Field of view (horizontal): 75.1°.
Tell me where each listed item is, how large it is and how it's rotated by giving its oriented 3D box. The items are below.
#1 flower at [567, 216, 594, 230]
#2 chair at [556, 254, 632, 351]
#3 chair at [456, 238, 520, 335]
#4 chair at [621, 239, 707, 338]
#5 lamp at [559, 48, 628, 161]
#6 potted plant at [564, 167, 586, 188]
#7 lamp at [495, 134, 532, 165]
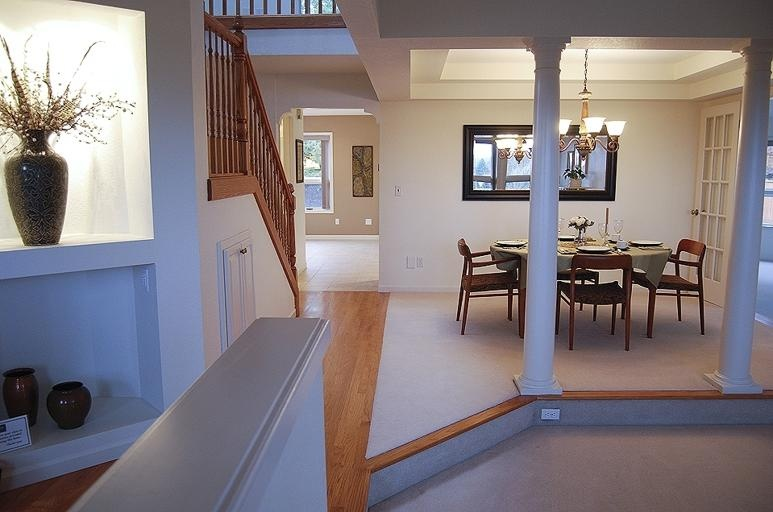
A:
[{"bbox_3d":[2.220,-0.378,5.801,0.216,0.154,0.282,3,13,17],"label":"flower"},{"bbox_3d":[2.261,0.401,5.423,0.679,1.010,0.753,-1,11,5],"label":"chair"},{"bbox_3d":[1.180,0.350,5.853,0.718,0.986,0.831,-2,6,2],"label":"chair"},{"bbox_3d":[3.210,0.401,5.836,0.856,1.276,0.979,-2,7,1],"label":"chair"},{"bbox_3d":[2.116,-1.713,5.344,0.733,1.316,0.802,-1,10,2],"label":"lamp"},{"bbox_3d":[2.463,-1.013,6.537,0.391,0.272,0.388,0,9,5],"label":"potted plant"},{"bbox_3d":[1.667,-1.396,6.562,0.387,0.366,1.404,2,12,14],"label":"lamp"}]
